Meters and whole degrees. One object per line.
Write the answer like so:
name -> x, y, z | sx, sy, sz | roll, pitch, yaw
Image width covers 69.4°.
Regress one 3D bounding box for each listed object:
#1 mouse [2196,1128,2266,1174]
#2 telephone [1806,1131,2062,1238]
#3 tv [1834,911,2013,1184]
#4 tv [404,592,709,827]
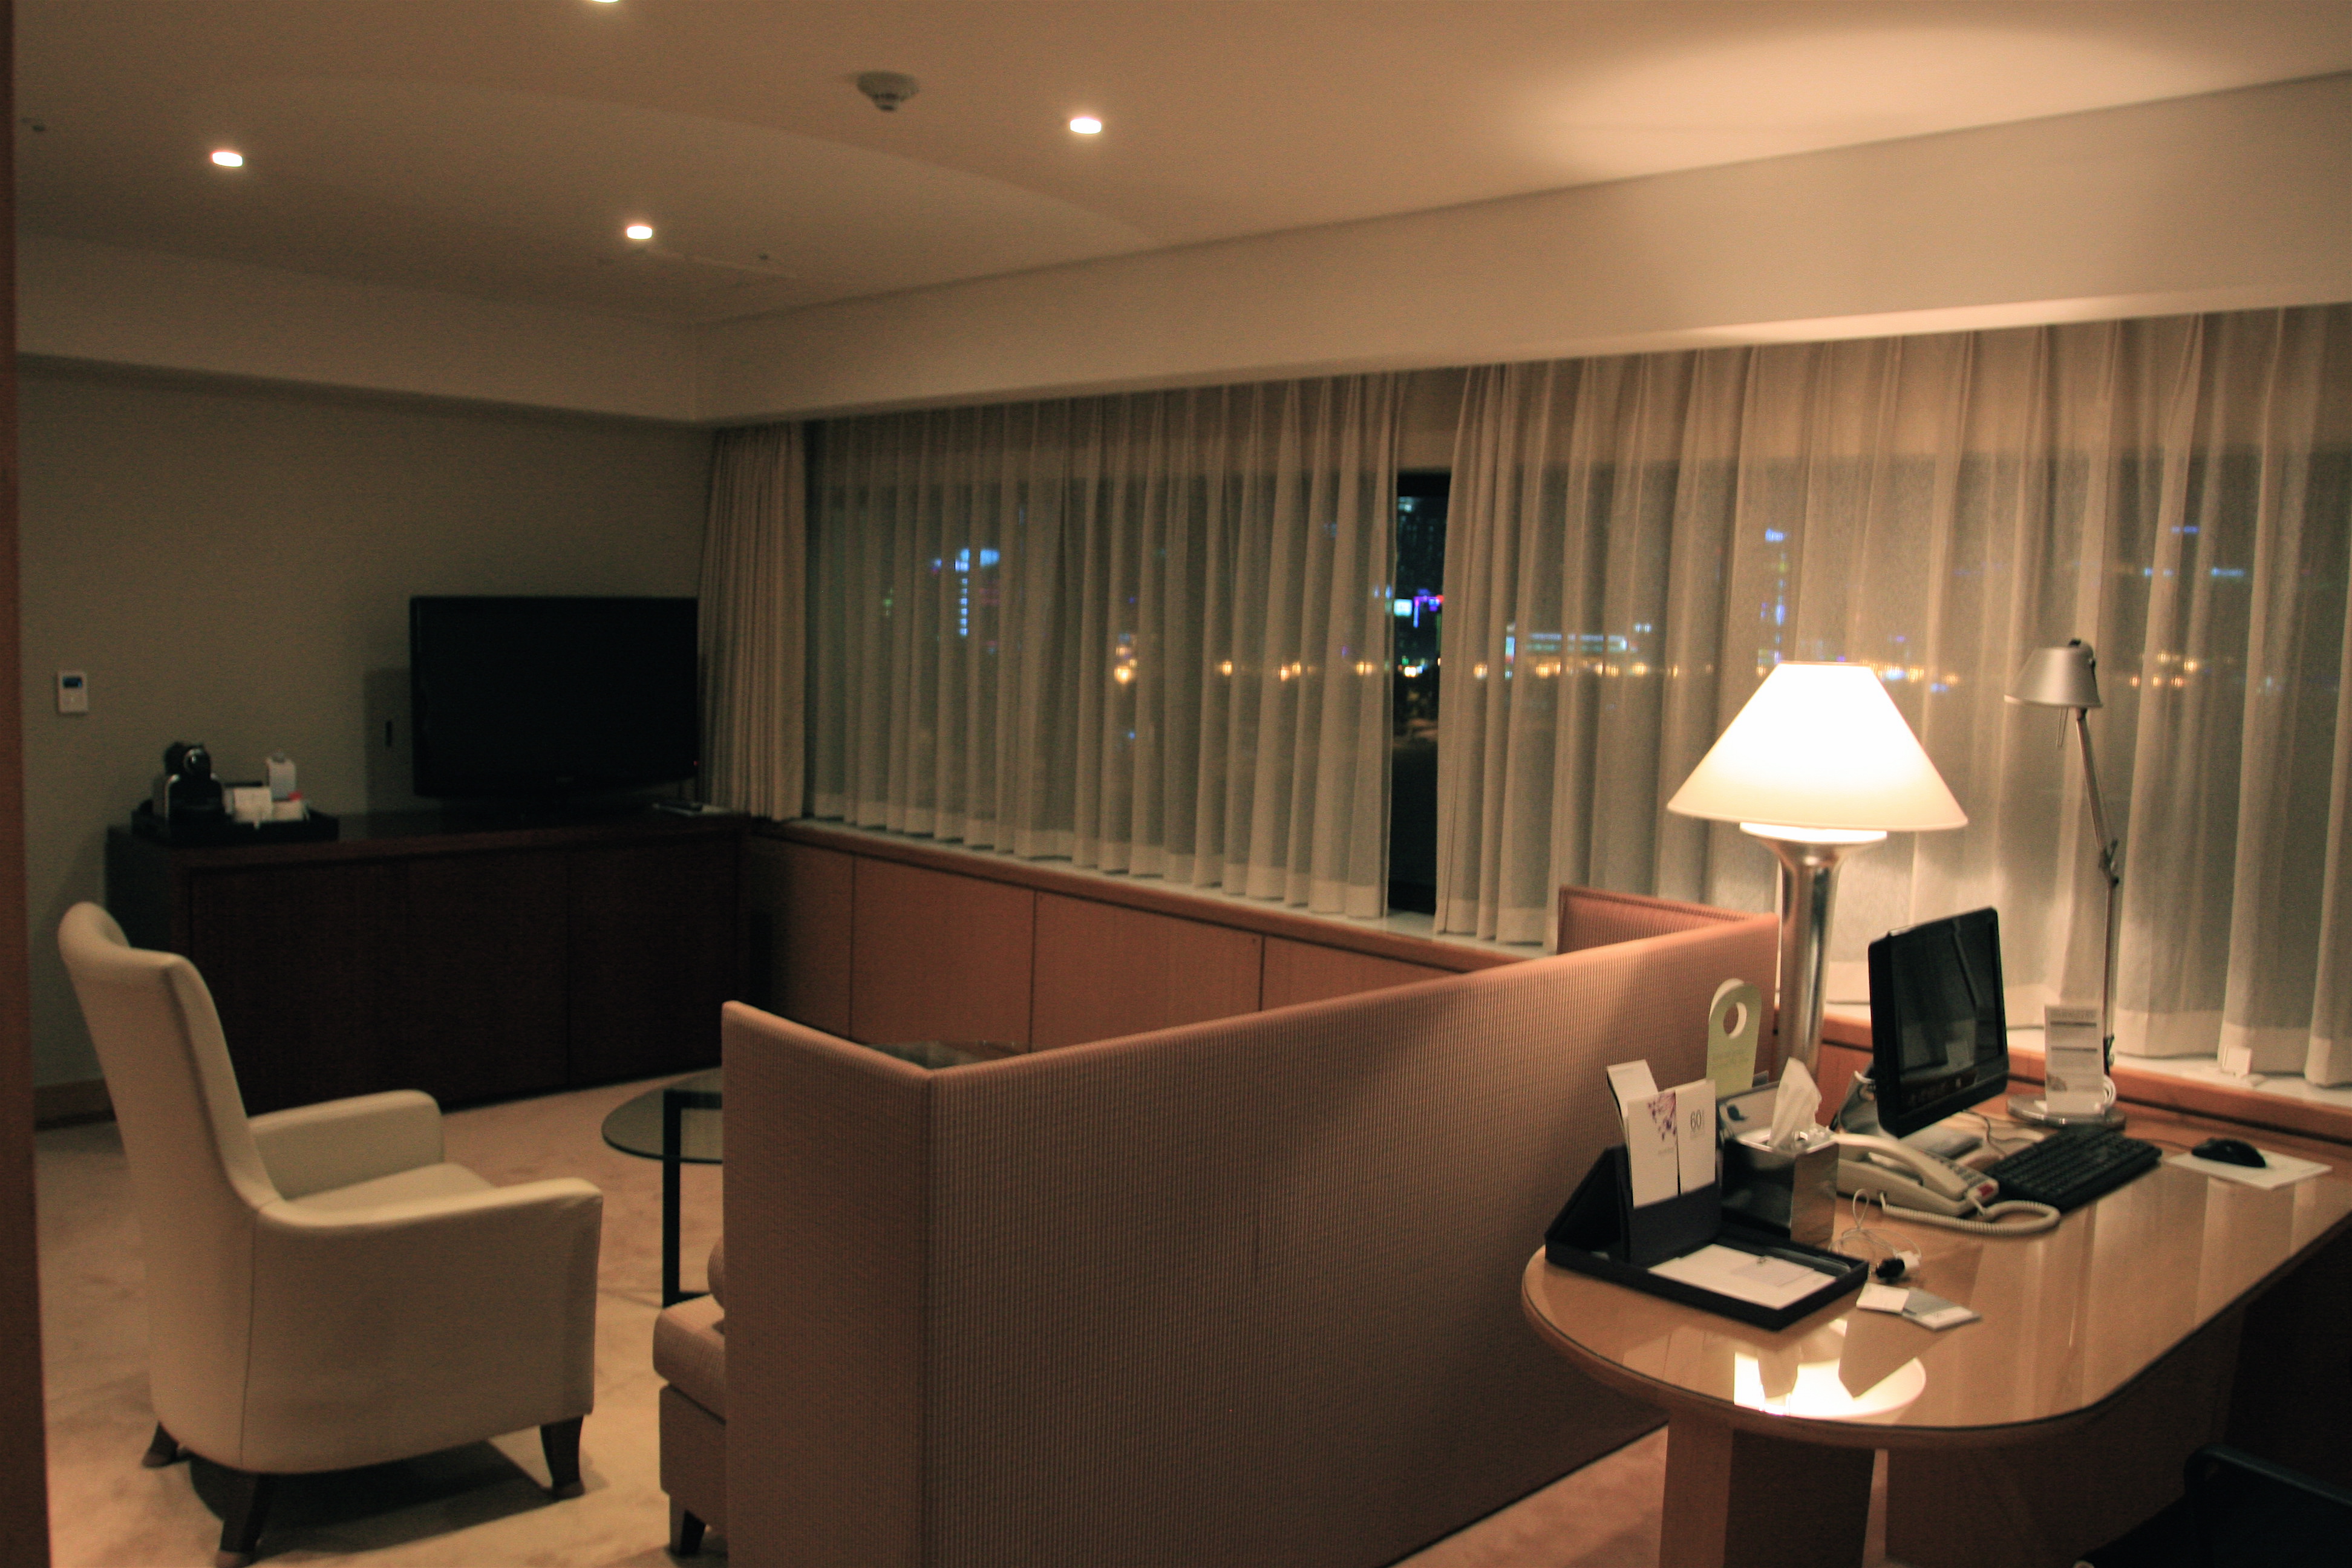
mouse -> 2.729, 0.959, 4.411 | 0.071, 0.043, 0.118 | 1, 3, -32
telephone -> 1.839, 0.968, 4.148 | 0.414, 0.184, 0.592 | -7, 2, -26
tv -> 1.965, 0.711, 4.434 | 0.598, 0.614, 0.316 | -6, 4, -41
tv -> -2.830, -0.338, 7.664 | 1.006, 0.770, 0.269 | -2, 9, -28
